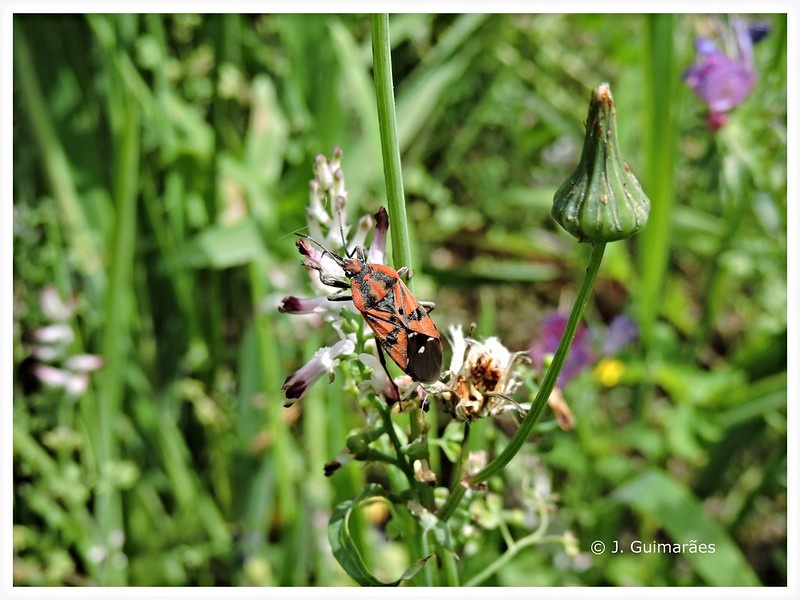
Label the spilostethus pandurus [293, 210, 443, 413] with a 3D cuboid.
[{"bbox_3d":[-0.034,0.027,1.098,0.206,0.082,0.266,-42,81,-6],"label":"spilostethus pandurus"}]

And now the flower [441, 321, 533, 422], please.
[{"bbox_3d":[0.123,0.118,1.036,0.126,0.064,0.131,9,68,10],"label":"flower"}]

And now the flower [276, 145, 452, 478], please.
[{"bbox_3d":[-0.044,-0.007,1.060,0.123,0.306,0.421,-8,57,-40],"label":"flower"}]
